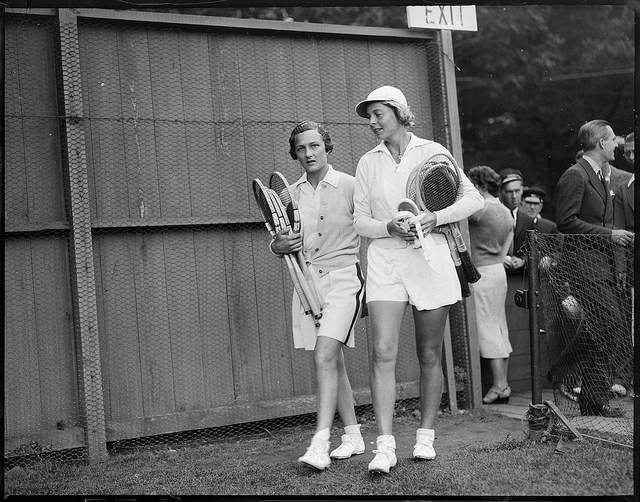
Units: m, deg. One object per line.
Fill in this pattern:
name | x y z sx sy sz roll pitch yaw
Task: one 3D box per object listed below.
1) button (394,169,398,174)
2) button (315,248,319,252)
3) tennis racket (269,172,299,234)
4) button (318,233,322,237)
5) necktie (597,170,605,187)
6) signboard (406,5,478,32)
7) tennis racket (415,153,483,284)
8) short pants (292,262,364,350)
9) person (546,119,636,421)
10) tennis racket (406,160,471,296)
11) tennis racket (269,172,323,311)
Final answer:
button | 0.530 -0.549 6.477 0.021 0.028 0.007 0 -3 10
button | -0.015 -0.013 6.682 0.023 0.021 0.005 -4 -4 6
tennis racket | -0.237 -0.357 6.652 0.075 0.405 0.237 -14 -21 -12
button | 0.007 -0.120 6.660 0.027 0.025 0.006 -7 0 7
necktie | 2.195 -0.579 7.337 0.069 0.091 0.025 -4 -15 -40
signboard | 1.016 -1.926 7.826 0.561 0.212 0.250 -2 12 3
tennis racket | 0.897 -0.276 6.408 0.327 0.748 0.133 -30 -4 40
short pants | 0.064 0.403 6.609 0.521 0.586 0.382 -3 12 -1
person | 2.101 0.181 7.276 0.595 2.203 0.630 0 12 12
tennis racket | 0.859 -0.122 6.424 0.091 0.882 0.396 -16 10 47
tennis racket | -0.156 -0.113 6.688 0.128 1.096 0.286 -26 -2 1
